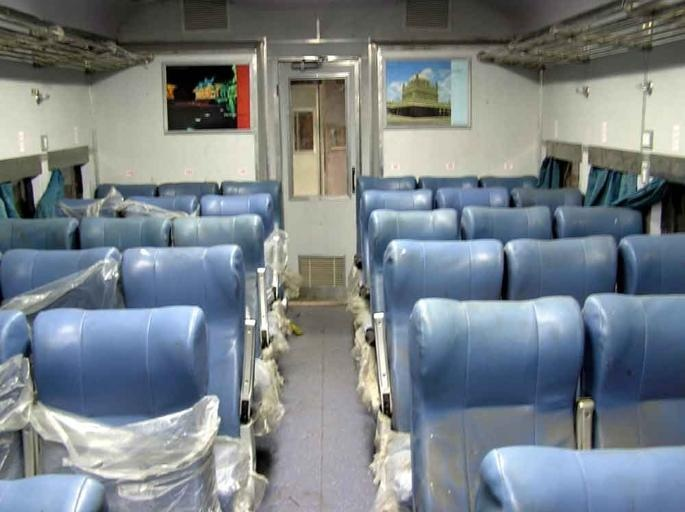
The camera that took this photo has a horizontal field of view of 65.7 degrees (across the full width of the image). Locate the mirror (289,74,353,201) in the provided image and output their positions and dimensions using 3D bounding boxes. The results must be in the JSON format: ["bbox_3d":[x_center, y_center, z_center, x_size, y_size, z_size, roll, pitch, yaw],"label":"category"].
[{"bbox_3d":[-0.256,-1.363,6.132,0.665,1.321,0.184,0,13,3],"label":"mirror"}]
